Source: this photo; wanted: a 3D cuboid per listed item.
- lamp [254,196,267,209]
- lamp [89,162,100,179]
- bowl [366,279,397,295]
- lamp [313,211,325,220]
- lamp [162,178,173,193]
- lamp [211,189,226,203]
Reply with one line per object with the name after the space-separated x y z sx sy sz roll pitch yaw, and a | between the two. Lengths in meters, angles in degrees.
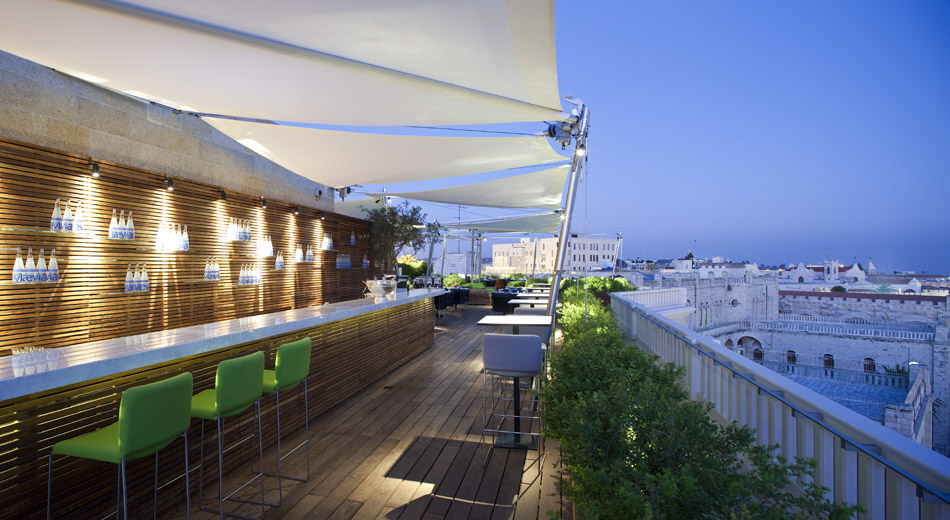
-4.766 -1.273 11.572 0.163 0.254 0.276 -5 -7 -1 | lamp
-6.358 -1.487 8.656 0.135 0.266 0.167 -3 -8 -19 | lamp
-1.900 0.536 10.386 0.438 0.210 0.413 -1 -1 0 | bowl
-4.121 -1.144 13.499 0.131 0.202 0.344 12 5 24 | lamp
-5.719 -1.363 9.663 0.153 0.241 0.211 -4 -8 -7 | lamp
-5.233 -1.303 10.537 0.222 0.171 0.478 -1 1 -13 | lamp
